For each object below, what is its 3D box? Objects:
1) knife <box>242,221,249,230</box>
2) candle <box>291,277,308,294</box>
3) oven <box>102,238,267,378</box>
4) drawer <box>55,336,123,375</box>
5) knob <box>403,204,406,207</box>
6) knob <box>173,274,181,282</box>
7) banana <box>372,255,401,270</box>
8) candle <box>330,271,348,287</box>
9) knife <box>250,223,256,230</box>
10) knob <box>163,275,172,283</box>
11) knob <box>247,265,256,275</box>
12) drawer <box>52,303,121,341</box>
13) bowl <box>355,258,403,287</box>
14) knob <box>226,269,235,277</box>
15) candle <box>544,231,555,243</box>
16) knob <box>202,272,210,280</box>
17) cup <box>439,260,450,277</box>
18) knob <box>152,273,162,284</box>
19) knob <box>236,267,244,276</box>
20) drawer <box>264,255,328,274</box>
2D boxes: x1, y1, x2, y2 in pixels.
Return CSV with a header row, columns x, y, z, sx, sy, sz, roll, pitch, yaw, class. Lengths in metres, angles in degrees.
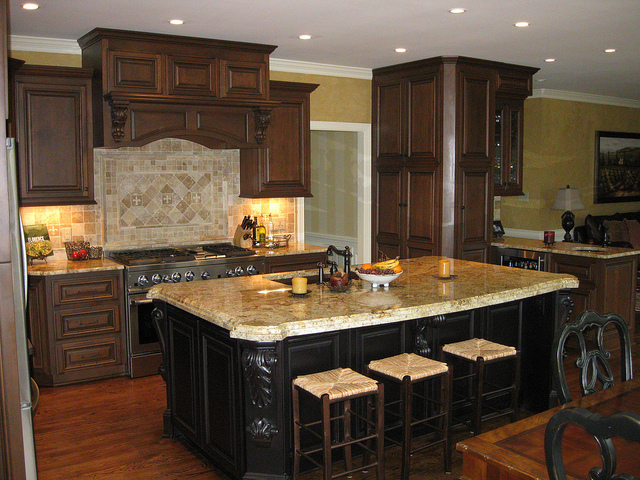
x,y,z,sx,sy,sz,roll,pitch,yaw,class
-0.844,-0.167,6.049,0.066,0.090,0.018,-10,13,-38,knife
-0.141,0.314,3.707,0.101,0.091,0.102,1,5,7,candle
-1.747,0.710,5.584,0.839,1.074,1.285,4,4,31,oven
-2.184,1.081,4.972,0.361,0.234,0.379,-2,1,-35,drawer
1.029,-0.423,6.445,0.026,0.026,0.049,3,2,13,knob
-1.372,0.361,5.116,0.062,0.061,0.038,6,-8,-34,knob
0.504,0.173,3.998,0.178,0.109,0.103,-11,-5,18,banana
0.139,0.280,3.797,0.093,0.086,0.094,1,4,33,candle
-0.768,-0.158,6.106,0.022,0.022,0.084,-10,-37,-29,knife
-1.457,0.368,5.089,0.067,0.062,0.051,0,10,8,knob
-0.708,0.310,5.506,0.076,0.075,0.019,2,1,-36,knob
-2.183,0.849,5.129,0.642,0.303,0.458,-7,-26,-17,drawer
0.475,0.231,3.953,0.245,0.133,0.244,-3,4,0,bowl
-0.903,0.340,5.394,0.051,0.067,0.032,3,-30,-17,knob
2.738,-0.030,6.424,0.117,0.157,0.115,0,4,-15,candle
-1.128,0.353,5.263,0.053,0.067,0.068,6,-15,-16,knob
0.986,0.236,4.240,0.113,0.164,0.109,0,1,0,cup
-1.543,0.368,5.044,0.092,0.091,0.056,11,-2,-21,knob
-0.812,0.318,5.440,0.073,0.072,0.039,1,2,-32,knob
-0.219,0.260,5.841,0.852,0.164,0.159,-9,12,-38,drawer
